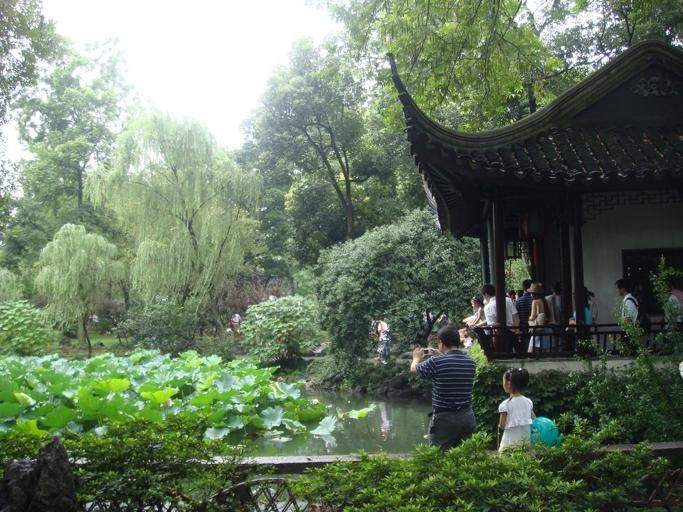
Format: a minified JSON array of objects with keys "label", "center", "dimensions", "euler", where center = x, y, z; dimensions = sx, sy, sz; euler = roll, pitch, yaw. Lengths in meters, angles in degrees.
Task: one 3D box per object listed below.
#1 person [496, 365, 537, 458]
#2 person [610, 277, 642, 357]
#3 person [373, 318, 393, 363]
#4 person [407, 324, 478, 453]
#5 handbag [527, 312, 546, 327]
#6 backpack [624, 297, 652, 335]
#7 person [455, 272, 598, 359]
[{"label":"person","center":[2.027,1.777,8.307],"dimensions":[0.399,0.889,0.451],"euler":[-4,-12,13]},{"label":"person","center":[3.901,0.844,9.758],"dimensions":[0.405,1.347,0.464],"euler":[-4,-29,20]},{"label":"person","center":[1.151,2.353,19.530],"dimensions":[0.408,1.169,1.225],"euler":[-1,-13,3]},{"label":"person","center":[1.186,1.517,8.235],"dimensions":[0.708,1.399,0.314],"euler":[-2,-12,5]},{"label":"handbag","center":[2.830,0.930,10.416],"dimensions":[0.241,0.267,0.180],"euler":[-3,-7,27]},{"label":"backpack","center":[4.007,0.824,9.690],"dimensions":[0.307,0.651,0.442],"euler":[-3,4,10]},{"label":"person","center":[2.699,0.949,10.424],"dimensions":[1.239,0.844,1.251],"euler":[-1,0,8]}]
